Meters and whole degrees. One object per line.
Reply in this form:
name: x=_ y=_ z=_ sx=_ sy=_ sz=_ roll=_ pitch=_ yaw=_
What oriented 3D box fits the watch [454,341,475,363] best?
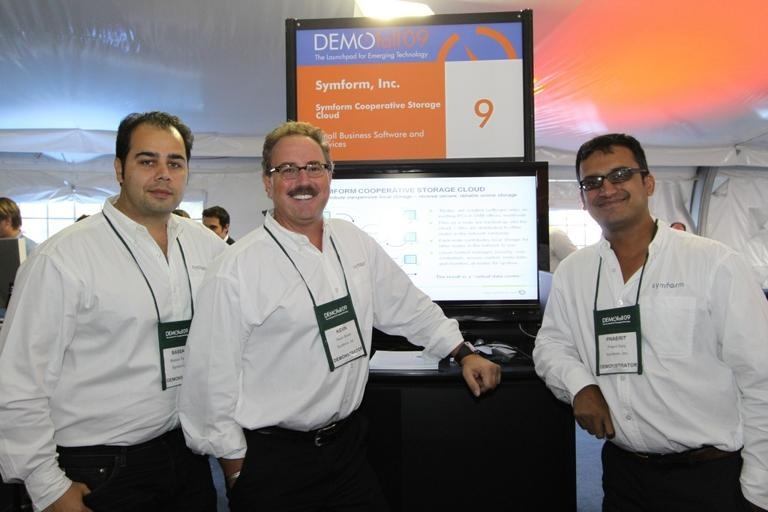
watch: x=0.392 y=0.466 z=2.697 sx=0.102 sy=0.056 sz=0.080 roll=-31 pitch=-3 yaw=15

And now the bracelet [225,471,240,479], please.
bracelet: x=-0.652 y=0.935 z=2.330 sx=0.033 sy=0.037 sz=0.029 roll=39 pitch=15 yaw=23

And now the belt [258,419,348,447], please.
belt: x=-0.368 y=0.792 z=2.401 sx=0.388 sy=0.097 sz=0.060 roll=-3 pitch=6 yaw=-14
